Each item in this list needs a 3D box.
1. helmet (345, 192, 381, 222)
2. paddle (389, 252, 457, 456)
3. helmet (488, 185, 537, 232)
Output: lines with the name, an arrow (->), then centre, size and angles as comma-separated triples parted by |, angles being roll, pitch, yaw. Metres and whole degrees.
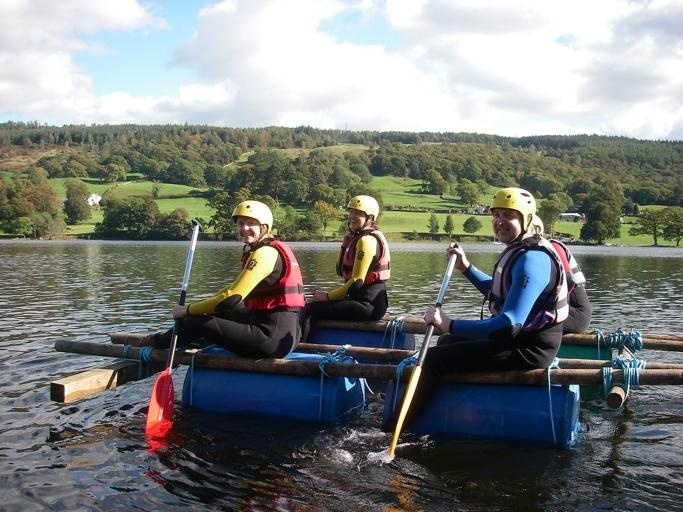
helmet -> 0.417, -0.870, 12.493 | 0.632, 0.392, 0.433 | -2, 20, -21
paddle -> 0.994, 1.218, 8.965 | 0.258, 2.775, 0.172 | 16, -6, -10
helmet -> 2.164, -0.635, 8.946 | 0.738, 0.507, 0.486 | 1, 13, -1
